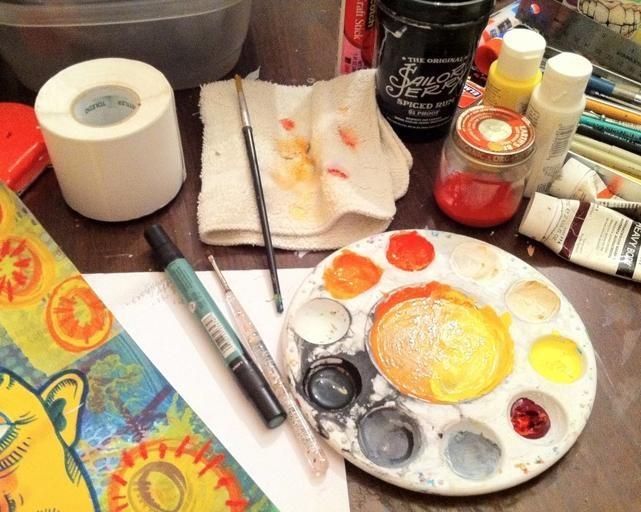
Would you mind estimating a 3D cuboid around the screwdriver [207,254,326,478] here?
[{"bbox_3d":[-0.046,0.104,0.567,0.138,0.147,0.039,29,58,17],"label":"screwdriver"}]

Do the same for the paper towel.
[{"bbox_3d":[-0.246,-0.127,0.675,0.150,0.118,0.149,2,47,-1],"label":"paper towel"}]
